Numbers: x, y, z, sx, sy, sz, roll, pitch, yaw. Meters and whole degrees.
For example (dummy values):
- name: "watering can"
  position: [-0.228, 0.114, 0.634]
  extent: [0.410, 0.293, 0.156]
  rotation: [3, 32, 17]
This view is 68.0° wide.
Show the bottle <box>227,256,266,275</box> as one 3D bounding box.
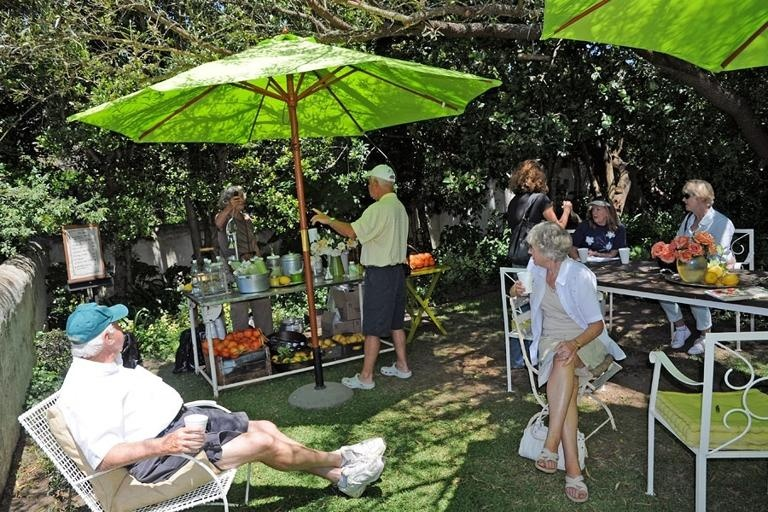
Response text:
- name: "bottle"
  position: [-1.667, 0.126, 6.907]
  extent: [0.256, 0.159, 0.334]
  rotation: [0, 4, -32]

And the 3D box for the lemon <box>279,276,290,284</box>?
- name: "lemon"
  position: [-1.227, 0.288, 6.991]
  extent: [0.089, 0.095, 0.090]
  rotation: [0, 5, 3]

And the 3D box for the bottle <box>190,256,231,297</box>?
- name: "bottle"
  position: [-2.125, 0.234, 6.918]
  extent: [0.417, 0.421, 0.414]
  rotation: [0, 9, -13]

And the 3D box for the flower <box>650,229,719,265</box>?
- name: "flower"
  position: [2.960, -0.076, 5.589]
  extent: [0.379, 0.258, 0.407]
  rotation: [-16, 2, -43]

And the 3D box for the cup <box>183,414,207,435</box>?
- name: "cup"
  position: [-1.364, 1.199, 4.113]
  extent: [0.135, 0.105, 0.138]
  rotation: [1, -1, 0]

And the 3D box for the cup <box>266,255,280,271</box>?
- name: "cup"
  position: [-1.423, 0.086, 7.184]
  extent: [0.169, 0.171, 0.174]
  rotation: [3, 5, 0]

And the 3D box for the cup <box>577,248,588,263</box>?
- name: "cup"
  position: [2.274, -0.002, 6.506]
  extent: [0.137, 0.155, 0.141]
  rotation: [2, 4, 0]

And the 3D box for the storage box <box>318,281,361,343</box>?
- name: "storage box"
  position: [-0.546, 0.710, 7.611]
  extent: [0.705, 0.745, 0.511]
  rotation: [2, -2, -29]

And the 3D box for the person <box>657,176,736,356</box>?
- name: "person"
  position: [3.703, 0.099, 6.761]
  extent: [0.948, 2.075, 0.842]
  rotation: [-7, 12, -25]

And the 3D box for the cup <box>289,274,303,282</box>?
- name: "cup"
  position: [-1.081, 0.275, 7.051]
  extent: [0.128, 0.093, 0.096]
  rotation: [6, -8, -30]

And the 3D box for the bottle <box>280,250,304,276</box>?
- name: "bottle"
  position: [-1.136, 0.104, 7.219]
  extent: [0.225, 0.270, 0.274]
  rotation: [-3, -4, 43]

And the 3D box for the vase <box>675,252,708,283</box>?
- name: "vase"
  position: [2.987, 0.113, 5.489]
  extent: [0.240, 0.293, 0.245]
  rotation: [-1, -3, 34]

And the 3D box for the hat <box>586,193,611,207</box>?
- name: "hat"
  position: [2.844, -0.745, 7.430]
  extent: [0.263, 0.142, 0.191]
  rotation: [14, -11, -26]

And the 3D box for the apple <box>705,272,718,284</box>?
- name: "apple"
  position: [3.159, 0.201, 5.467]
  extent: [0.103, 0.110, 0.070]
  rotation: [0, 10, 8]

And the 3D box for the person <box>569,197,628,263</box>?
- name: "person"
  position: [2.859, -0.364, 7.579]
  extent: [0.811, 0.820, 0.812]
  rotation: [-4, 6, -40]

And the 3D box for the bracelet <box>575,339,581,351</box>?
- name: "bracelet"
  position: [1.696, 0.784, 4.945]
  extent: [0.057, 0.087, 0.076]
  rotation: [-2, 0, 1]

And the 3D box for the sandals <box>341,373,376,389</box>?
- name: "sandals"
  position: [-0.307, 1.469, 6.636]
  extent: [0.353, 0.166, 0.168]
  rotation: [5, 1, 11]

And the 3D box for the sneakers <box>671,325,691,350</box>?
- name: "sneakers"
  position: [3.742, 1.033, 7.160]
  extent: [0.420, 0.179, 0.153]
  rotation: [-42, 16, -35]

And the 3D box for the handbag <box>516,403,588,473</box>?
- name: "handbag"
  position: [1.503, 1.634, 5.047]
  extent: [0.243, 0.560, 0.627]
  rotation: [16, -11, -42]

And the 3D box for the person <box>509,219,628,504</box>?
- name: "person"
  position: [1.533, 0.864, 5.020]
  extent: [0.660, 2.338, 0.644]
  rotation: [-3, 4, 35]

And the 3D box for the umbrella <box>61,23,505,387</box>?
- name: "umbrella"
  position: [-0.903, -0.045, 7.160]
  extent: [4.197, 4.012, 4.522]
  rotation: [-3, 7, 26]

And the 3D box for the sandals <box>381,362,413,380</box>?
- name: "sandals"
  position: [0.158, 1.386, 6.950]
  extent: [0.359, 0.171, 0.155]
  rotation: [6, 7, 25]

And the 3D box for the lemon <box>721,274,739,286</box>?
- name: "lemon"
  position: [3.302, 0.212, 5.384]
  extent: [0.136, 0.103, 0.103]
  rotation: [-10, 22, -23]

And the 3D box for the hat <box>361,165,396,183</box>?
- name: "hat"
  position: [-0.045, -0.947, 6.550]
  extent: [0.308, 0.188, 0.226]
  rotation: [6, 6, 7]

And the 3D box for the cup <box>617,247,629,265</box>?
- name: "cup"
  position: [2.798, 0.003, 6.641]
  extent: [0.143, 0.160, 0.155]
  rotation: [4, 4, 0]

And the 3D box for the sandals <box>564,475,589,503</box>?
- name: "sandals"
  position: [1.647, 1.941, 4.773]
  extent: [0.218, 0.205, 0.124]
  rotation: [-6, 3, -10]

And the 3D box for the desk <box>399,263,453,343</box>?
- name: "desk"
  position: [0.621, 0.615, 8.676]
  extent: [0.984, 0.971, 0.918]
  rotation: [-5, 8, -35]

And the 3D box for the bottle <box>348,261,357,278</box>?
- name: "bottle"
  position: [-0.393, 0.181, 7.327]
  extent: [0.125, 0.180, 0.176]
  rotation: [0, -3, 13]

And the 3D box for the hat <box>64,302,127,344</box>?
- name: "hat"
  position: [-2.119, 0.471, 4.235]
  extent: [0.268, 0.226, 0.426]
  rotation: [20, 40, 39]

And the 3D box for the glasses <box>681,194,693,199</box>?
- name: "glasses"
  position: [3.561, -0.691, 6.577]
  extent: [0.136, 0.051, 0.134]
  rotation: [5, 0, -7]
